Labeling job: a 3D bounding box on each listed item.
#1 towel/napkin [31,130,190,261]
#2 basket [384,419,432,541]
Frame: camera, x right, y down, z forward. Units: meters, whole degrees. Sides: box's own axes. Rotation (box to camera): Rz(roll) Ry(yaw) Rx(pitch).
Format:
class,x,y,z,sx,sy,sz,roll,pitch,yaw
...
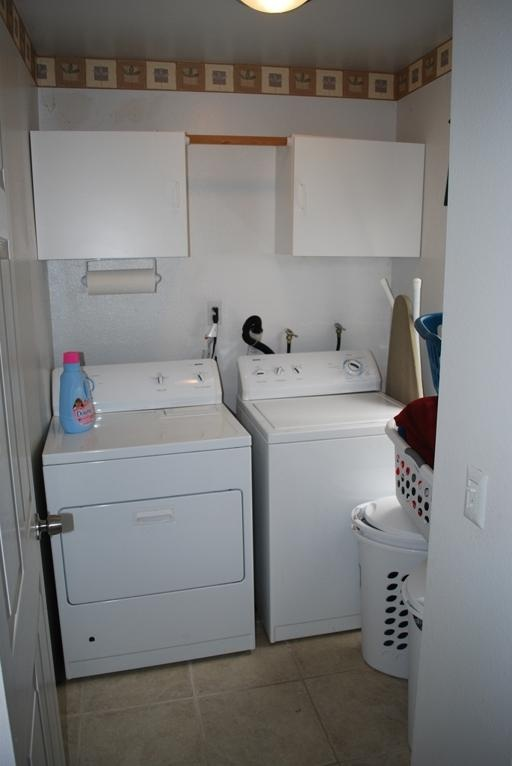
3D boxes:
class,x,y,z,sx,sy,sz,roll,pitch,yaw
towel/napkin,-0.559,-0.726,2.122,0.576,0.464,0.083,-3,7,-14
basket,0.403,0.287,1.616,0.178,0.211,0.295,-3,32,9
